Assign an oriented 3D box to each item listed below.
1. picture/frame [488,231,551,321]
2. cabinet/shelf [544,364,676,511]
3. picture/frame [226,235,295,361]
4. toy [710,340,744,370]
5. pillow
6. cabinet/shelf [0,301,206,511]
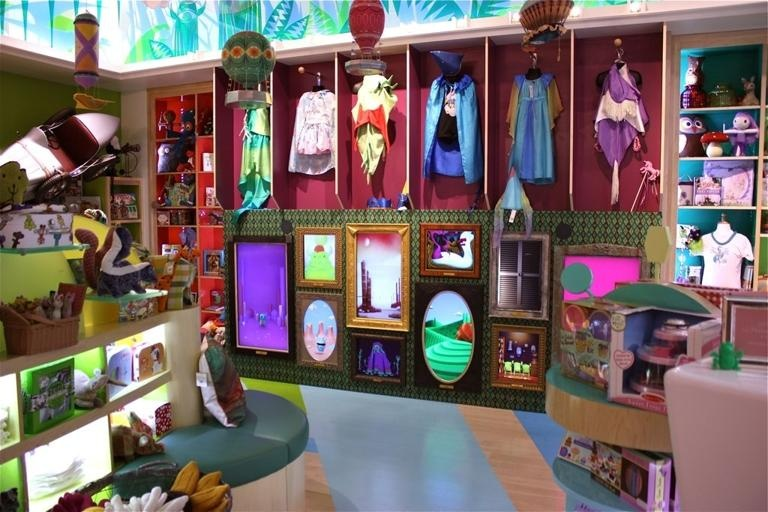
[{"bbox_3d":[1.345,0.185,5.747,0.507,0.799,0.051,2,10,11],"label":"picture/frame"},{"bbox_3d":[1.166,0.857,3.125,0.690,0.248,0.204,8,13,43],"label":"cabinet/shelf"},{"bbox_3d":[-1.385,0.450,6.652,0.796,1.324,0.177,3,9,22],"label":"picture/frame"},{"bbox_3d":[1.415,0.418,2.419,0.153,0.168,0.089,0,-9,36],"label":"toy"},{"bbox_3d":[-1.154,1.009,4.175,0.247,0.406,0.507,-28,39,0],"label":"pillow"},{"bbox_3d":[-1.719,0.925,3.479,0.282,0.700,1.121,0,3,27],"label":"cabinet/shelf"}]
